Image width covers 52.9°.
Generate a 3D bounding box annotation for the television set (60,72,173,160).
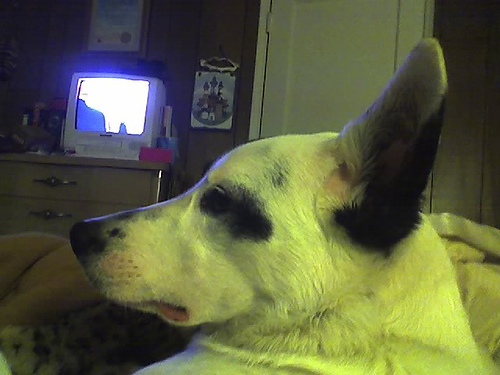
[{"bbox_3d":[-0.799,-0.382,3.321,0.712,0.496,0.684,13,-11,-24],"label":"television set"}]
